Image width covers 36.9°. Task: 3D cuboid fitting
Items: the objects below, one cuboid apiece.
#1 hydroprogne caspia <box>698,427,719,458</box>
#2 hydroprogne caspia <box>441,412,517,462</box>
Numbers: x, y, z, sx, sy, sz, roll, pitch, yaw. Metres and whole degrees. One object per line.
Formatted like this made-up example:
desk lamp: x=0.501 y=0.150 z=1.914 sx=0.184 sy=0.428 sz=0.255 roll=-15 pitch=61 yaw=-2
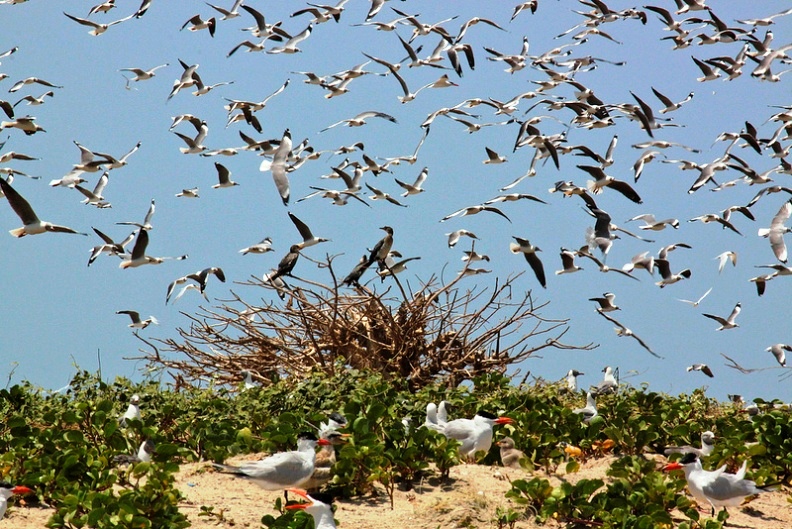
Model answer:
hydroprogne caspia: x=5.771 y=3.338 z=22.101 sx=0.264 sy=0.450 sz=0.540 roll=7 pitch=-5 yaw=15
hydroprogne caspia: x=1.399 y=3.209 z=22.202 sx=0.778 sy=0.971 sz=1.482 roll=7 pitch=-3 yaw=-41
